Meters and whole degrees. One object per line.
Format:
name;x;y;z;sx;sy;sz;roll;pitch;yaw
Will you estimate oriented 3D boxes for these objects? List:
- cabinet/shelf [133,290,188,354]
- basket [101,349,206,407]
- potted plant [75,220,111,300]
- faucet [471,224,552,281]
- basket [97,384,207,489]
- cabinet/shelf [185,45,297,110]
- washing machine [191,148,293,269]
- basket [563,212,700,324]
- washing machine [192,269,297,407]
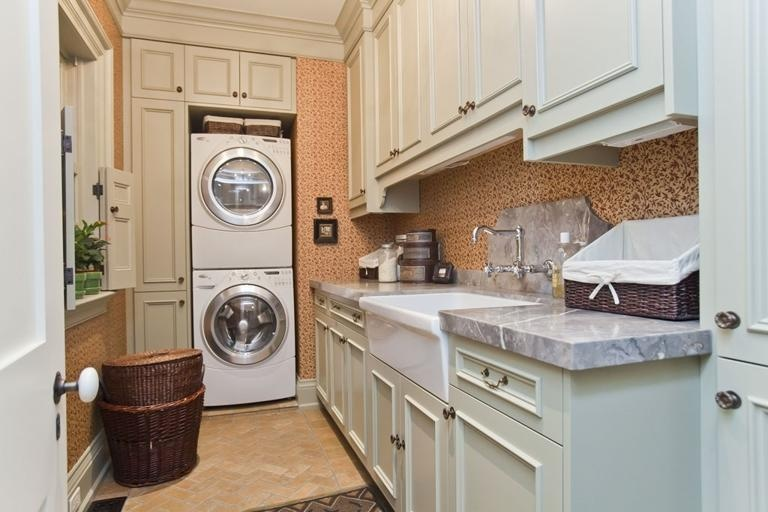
cabinet/shelf;-1.684;0.521;4.001;0.353;0.521;0.343;-12;-11;43
basket;-1.361;0.742;3.199;0.612;0.257;0.546;-7;-14;5
potted plant;-1.613;0.012;2.959;0.158;0.417;0.506;-4;8;-27
faucet;0.645;-0.080;2.747;0.264;0.264;0.463;2;-4;-24
basket;-1.280;1.002;3.001;0.510;0.394;0.446;-1;1;-42
cabinet/shelf;-1.106;-1.411;4.145;0.817;0.428;0.285;1;32;-15
washing machine;-1.154;-0.397;4.291;0.828;1.059;0.756;-1;1;-29
basket;0.970;0.077;2.085;0.513;0.304;0.537;4;-4;-11
washing machine;-1.028;0.577;4.289;0.870;1.091;0.854;0;4;13
